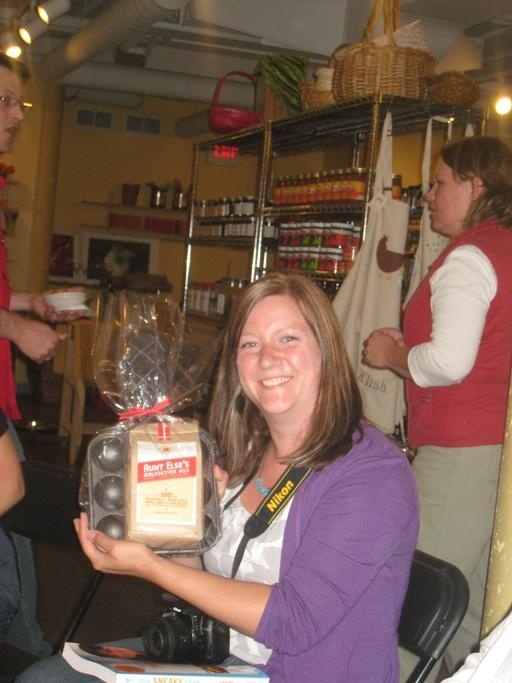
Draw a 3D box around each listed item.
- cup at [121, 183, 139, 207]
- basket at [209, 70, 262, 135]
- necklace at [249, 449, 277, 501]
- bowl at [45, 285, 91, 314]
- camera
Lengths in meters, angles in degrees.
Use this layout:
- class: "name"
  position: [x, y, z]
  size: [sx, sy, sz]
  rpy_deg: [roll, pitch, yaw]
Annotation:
- class: "cup"
  position: [-1.940, -2.256, 8.522]
  size: [0.251, 0.306, 0.190]
  rpy_deg: [6, 1, -15]
- class: "basket"
  position: [-0.166, -1.987, 4.564]
  size: [0.450, 0.420, 0.269]
  rpy_deg: [-6, 43, -27]
- class: "necklace"
  position: [0.014, 0.277, 1.141]
  size: [0.007, 0.049, 0.131]
  rpy_deg: [51, 18, -9]
- class: "bowl"
  position: [-0.737, -0.165, 2.230]
  size: [0.125, 0.066, 0.118]
  rpy_deg: [-2, 10, 0]
- class: "camera"
  position: [-0.124, 0.533, 1.003]
  size: [0.094, 0.116, 0.109]
  rpy_deg: [14, 51, -21]
